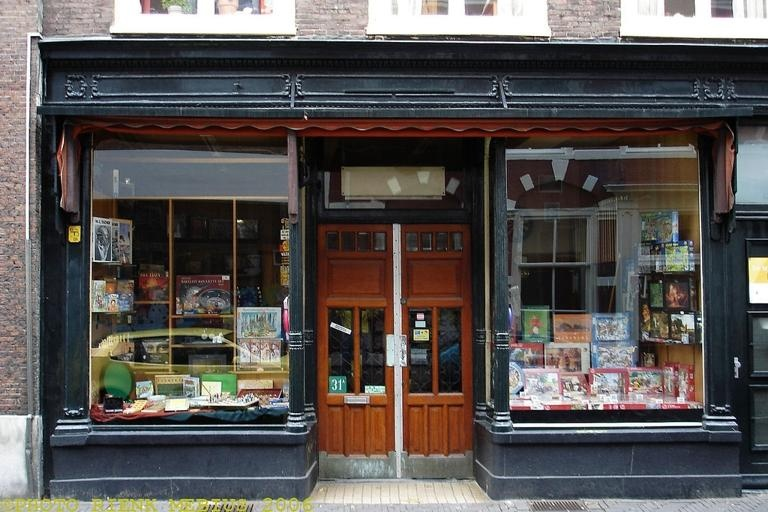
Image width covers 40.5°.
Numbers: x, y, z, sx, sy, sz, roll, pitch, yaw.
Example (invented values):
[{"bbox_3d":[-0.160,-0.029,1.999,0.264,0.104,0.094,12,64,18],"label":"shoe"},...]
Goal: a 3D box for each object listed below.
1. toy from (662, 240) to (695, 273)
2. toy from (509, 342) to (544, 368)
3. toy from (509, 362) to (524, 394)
[{"bbox_3d":[4.610,0.004,16.262,0.470,0.516,0.160,0,0,32],"label":"toy"},{"bbox_3d":[2.250,1.531,16.199,0.423,0.400,0.407,1,0,0],"label":"toy"},{"bbox_3d":[2.050,1.884,16.093,0.265,0.529,0.072,0,-4,-28],"label":"toy"}]
